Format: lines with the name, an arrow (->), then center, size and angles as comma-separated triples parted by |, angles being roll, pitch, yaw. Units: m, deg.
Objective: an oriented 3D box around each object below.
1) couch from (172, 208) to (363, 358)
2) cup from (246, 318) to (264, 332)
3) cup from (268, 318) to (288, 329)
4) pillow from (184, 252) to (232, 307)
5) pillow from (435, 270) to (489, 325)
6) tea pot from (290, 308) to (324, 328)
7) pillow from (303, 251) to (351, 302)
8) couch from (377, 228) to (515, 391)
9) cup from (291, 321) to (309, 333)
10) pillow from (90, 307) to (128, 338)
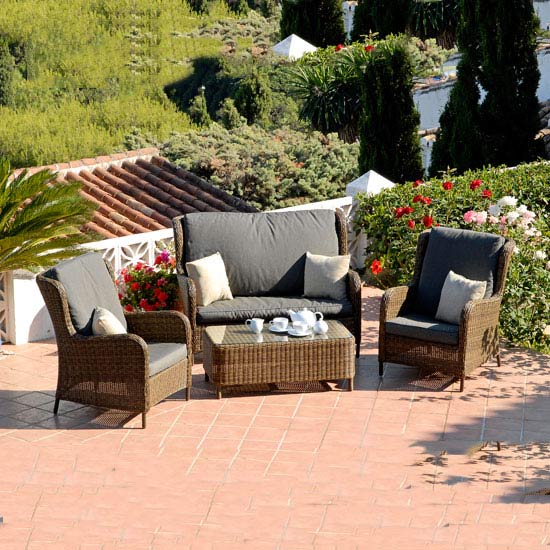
couch -> -0.060, 0.026, 7.636 | 1.643, 1.092, 0.938 | -2, 20, -10
cup -> -0.151, 0.411, 6.741 | 0.103, 0.092, 0.137 | 1, -2, -38
cup -> 0.041, 0.393, 6.778 | 0.108, 0.050, 0.087 | -8, -7, 31
pillow -> -0.569, 0.046, 7.287 | 0.132, 0.401, 0.442 | -24, -8, 42
pillow -> 1.552, 0.204, 6.913 | 0.246, 0.397, 0.455 | -2, 10, -29
tea pot -> 0.264, 0.346, 6.805 | 0.221, 0.135, 0.149 | 4, 3, 15
pillow -> 0.473, 0.033, 7.473 | 0.445, 0.427, 0.157 | 2, -25, 17
couch -> 1.472, 0.251, 7.065 | 1.007, 1.099, 0.948 | -15, 20, -40
cup -> 0.216, 0.417, 6.621 | 0.089, 0.055, 0.095 | 2, -6, 0
pillow -> -1.210, 0.357, 6.010 | 0.239, 0.180, 0.341 | -3, 14, -12
